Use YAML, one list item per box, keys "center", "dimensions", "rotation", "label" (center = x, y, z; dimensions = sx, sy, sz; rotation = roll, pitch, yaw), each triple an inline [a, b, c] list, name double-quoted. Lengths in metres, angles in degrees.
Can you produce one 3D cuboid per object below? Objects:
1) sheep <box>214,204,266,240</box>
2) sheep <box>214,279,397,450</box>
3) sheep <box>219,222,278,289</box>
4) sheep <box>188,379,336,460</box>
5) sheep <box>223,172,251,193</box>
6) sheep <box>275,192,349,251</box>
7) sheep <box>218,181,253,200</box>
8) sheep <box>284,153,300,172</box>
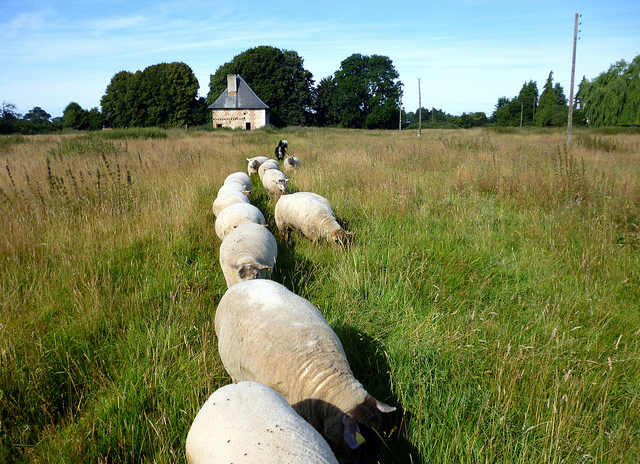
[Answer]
- center: [-1.496, -0.246, 9.327]
  dimensions: [0.577, 0.498, 0.730]
  rotation: [5, 8, -20]
  label: "sheep"
- center: [-0.149, 1.664, 6.675]
  dimensions: [2.504, 1.718, 1.218]
  rotation: [34, 65, 32]
  label: "sheep"
- center: [-1.071, 0.324, 7.877]
  dimensions: [0.514, 0.902, 1.241]
  rotation: [-2, 10, -8]
  label: "sheep"
- center: [-0.560, 2.096, 5.734]
  dimensions: [1.396, 0.781, 1.018]
  rotation: [19, -15, 11]
  label: "sheep"
- center: [-2.083, -1.300, 13.281]
  dimensions: [0.403, 0.766, 1.358]
  rotation: [-2, -1, -16]
  label: "sheep"
- center: [-0.167, -0.108, 10.076]
  dimensions: [0.678, 1.171, 1.965]
  rotation: [-18, 28, -39]
  label: "sheep"
- center: [-1.806, -0.906, 11.389]
  dimensions: [0.319, 0.585, 0.769]
  rotation: [6, 14, 23]
  label: "sheep"
- center: [-0.900, -2.266, 17.214]
  dimensions: [0.284, 0.547, 0.871]
  rotation: [-2, 7, -5]
  label: "sheep"
